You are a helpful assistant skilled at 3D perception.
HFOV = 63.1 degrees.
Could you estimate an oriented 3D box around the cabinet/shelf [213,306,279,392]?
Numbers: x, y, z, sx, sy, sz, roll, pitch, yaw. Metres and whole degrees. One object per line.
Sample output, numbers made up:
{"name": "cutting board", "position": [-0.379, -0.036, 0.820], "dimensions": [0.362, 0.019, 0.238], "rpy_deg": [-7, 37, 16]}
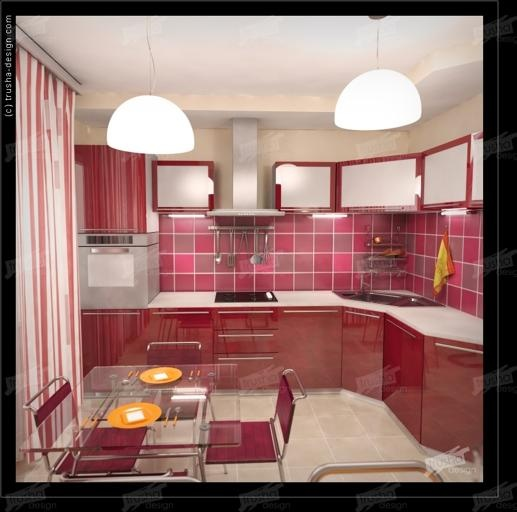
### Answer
{"name": "cabinet/shelf", "position": [-0.082, 0.592, 2.864], "dimensions": [0.451, 0.615, 0.339], "rpy_deg": [-1, 13, -5]}

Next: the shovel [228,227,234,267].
{"name": "shovel", "position": [-0.198, -0.065, 3.110], "dimensions": [0.057, 0.270, 0.067], "rpy_deg": [1, 13, -2]}

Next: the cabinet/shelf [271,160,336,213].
{"name": "cabinet/shelf", "position": [0.305, -0.447, 2.719], "dimensions": [0.389, 0.305, 0.081], "rpy_deg": [4, 14, 9]}

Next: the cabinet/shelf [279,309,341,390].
{"name": "cabinet/shelf", "position": [0.361, 0.565, 2.909], "dimensions": [0.419, 0.590, 0.366], "rpy_deg": [-1, 16, 9]}

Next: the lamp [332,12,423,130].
{"name": "lamp", "position": [0.430, -0.681, 1.514], "dimensions": [0.323, 0.372, 0.323], "rpy_deg": [-9, 21, -12]}

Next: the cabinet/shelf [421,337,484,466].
{"name": "cabinet/shelf", "position": [0.941, 0.719, 2.104], "dimensions": [0.259, 0.599, 0.323], "rpy_deg": [7, 14, 21]}

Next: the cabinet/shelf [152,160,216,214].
{"name": "cabinet/shelf", "position": [-0.495, -0.465, 2.761], "dimensions": [0.342, 0.299, 0.123], "rpy_deg": [0, 0, -6]}

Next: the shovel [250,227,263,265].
{"name": "shovel", "position": [-0.012, -0.073, 3.113], "dimensions": [0.083, 0.264, 0.058], "rpy_deg": [1, 13, -2]}
